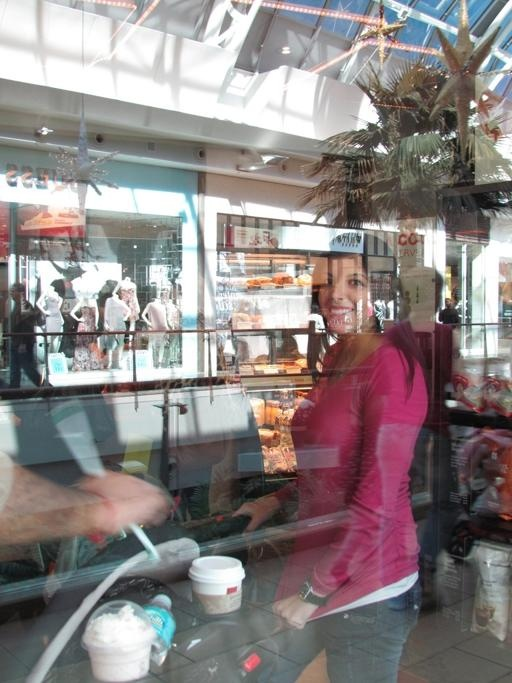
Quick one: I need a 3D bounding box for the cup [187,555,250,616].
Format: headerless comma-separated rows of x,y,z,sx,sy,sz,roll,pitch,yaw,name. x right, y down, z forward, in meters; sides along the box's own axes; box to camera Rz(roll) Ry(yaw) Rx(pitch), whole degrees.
-0.070,0.437,0.963,0.102,0.077,0.104,1,-6,0,cup

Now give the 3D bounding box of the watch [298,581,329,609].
0.115,0.517,1.047,0.054,0.032,0.054,26,6,1,watch
